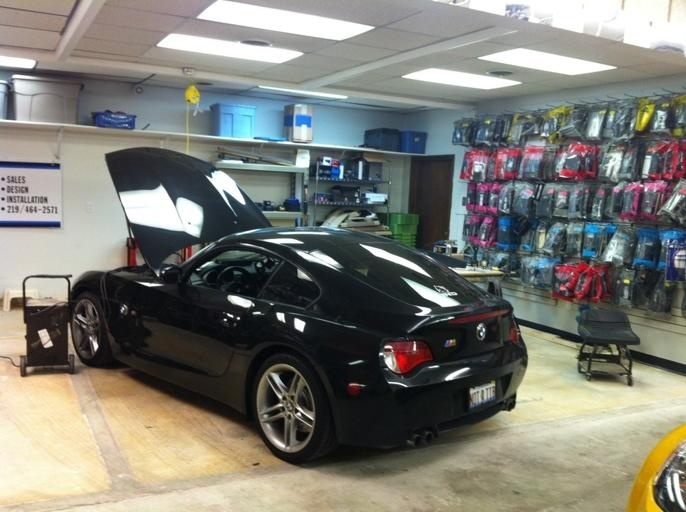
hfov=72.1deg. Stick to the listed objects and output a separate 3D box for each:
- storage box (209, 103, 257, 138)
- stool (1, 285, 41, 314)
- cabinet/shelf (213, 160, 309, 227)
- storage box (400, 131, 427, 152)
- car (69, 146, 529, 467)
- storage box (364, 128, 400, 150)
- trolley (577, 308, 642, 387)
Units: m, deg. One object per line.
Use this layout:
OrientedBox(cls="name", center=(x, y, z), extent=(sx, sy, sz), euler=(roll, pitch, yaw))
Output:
OrientedBox(cls="storage box", center=(-1.922, -2.264, 8.043), extent=(0.909, 0.663, 0.650), euler=(-2, 12, -27))
OrientedBox(cls="stool", center=(-4.807, 0.624, 6.994), extent=(0.573, 0.281, 0.506), euler=(0, 3, -19))
OrientedBox(cls="cabinet/shelf", center=(-1.179, -0.932, 6.888), extent=(1.870, 1.217, 0.525), euler=(-1, 15, -16))
OrientedBox(cls="storage box", center=(1.383, -2.206, 9.362), extent=(0.563, 0.420, 0.501), euler=(-2, 11, -25))
OrientedBox(cls="car", center=(-0.441, 0.547, 3.686), extent=(3.091, 1.523, 1.074), euler=(7, 8, 34))
OrientedBox(cls="storage box", center=(0.819, -2.297, 9.349), extent=(0.530, 0.469, 0.863), euler=(-9, 16, -34))
OrientedBox(cls="trolley", center=(2.845, 0.958, 5.100), extent=(0.628, 0.624, 0.652), euler=(6, 5, 2))
